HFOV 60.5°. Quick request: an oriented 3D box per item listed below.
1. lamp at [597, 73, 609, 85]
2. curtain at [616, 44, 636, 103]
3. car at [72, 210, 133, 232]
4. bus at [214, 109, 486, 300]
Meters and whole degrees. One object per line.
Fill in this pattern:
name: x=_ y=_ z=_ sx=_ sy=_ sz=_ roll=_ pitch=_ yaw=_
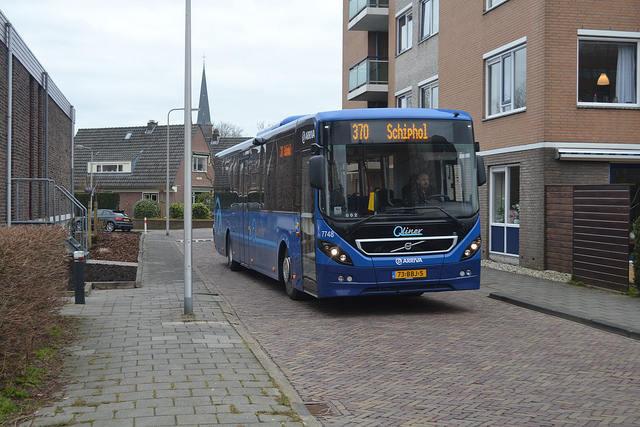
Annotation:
lamp: x=8.392 y=-4.014 z=16.439 sx=0.322 sy=0.326 sz=0.319 roll=3 pitch=3 yaw=18
curtain: x=9.154 y=-4.226 z=16.580 sx=0.632 sy=1.715 sz=0.117 roll=1 pitch=1 yaw=-14
car: x=-12.920 y=0.457 z=33.099 sx=3.719 sy=1.212 sz=1.607 roll=2 pitch=1 yaw=8
bus: x=-1.121 y=-0.154 z=14.919 sx=4.086 sy=4.127 sz=11.783 roll=0 pitch=1 yaw=-35
